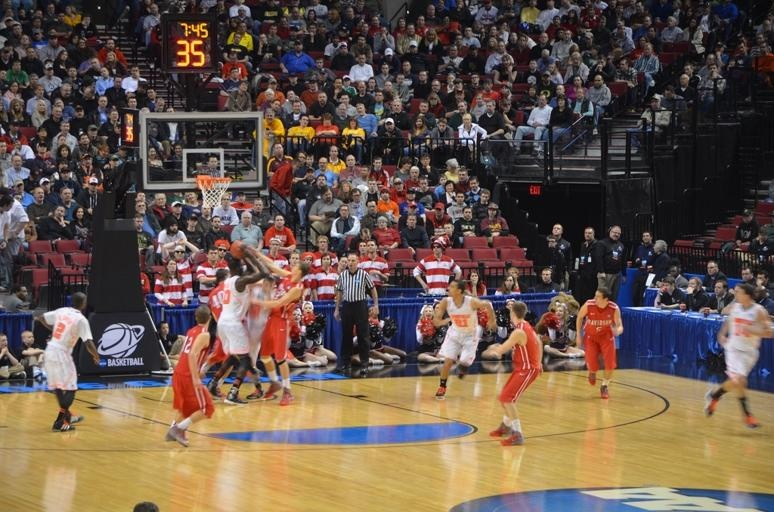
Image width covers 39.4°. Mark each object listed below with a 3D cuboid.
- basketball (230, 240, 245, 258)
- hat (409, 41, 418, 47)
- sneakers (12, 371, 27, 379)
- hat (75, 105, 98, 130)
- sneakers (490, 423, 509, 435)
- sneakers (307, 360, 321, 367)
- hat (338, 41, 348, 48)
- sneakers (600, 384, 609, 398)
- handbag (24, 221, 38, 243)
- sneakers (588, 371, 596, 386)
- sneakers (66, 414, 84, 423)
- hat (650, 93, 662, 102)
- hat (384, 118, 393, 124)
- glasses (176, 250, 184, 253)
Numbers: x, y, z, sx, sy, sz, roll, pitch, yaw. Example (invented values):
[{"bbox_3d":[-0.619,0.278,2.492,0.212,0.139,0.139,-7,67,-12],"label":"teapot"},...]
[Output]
[{"bbox_3d":[-2.789,-0.106,20.291,0.247,0.286,0.262,-1,6,-17],"label":"basketball"},{"bbox_3d":[0.832,-6.874,35.257,0.258,0.153,0.431,1,14,3],"label":"hat"},{"bbox_3d":[-7.848,2.550,23.184,0.194,0.126,0.159,-1,-4,11],"label":"sneakers"},{"bbox_3d":[-8.312,-3.755,29.822,0.501,0.737,0.245,2,-25,-33],"label":"hat"},{"bbox_3d":[2.092,3.263,20.309,0.343,0.246,0.183,3,0,7],"label":"sneakers"},{"bbox_3d":[-1.679,2.462,24.973,0.383,0.154,0.177,1,11,0],"label":"sneakers"},{"bbox_3d":[-1.414,-6.670,34.311,0.308,0.182,0.472,0,-1,-3],"label":"hat"},{"bbox_3d":[4.565,2.806,22.840,0.178,0.317,0.526,2,11,9],"label":"sneakers"},{"bbox_3d":[-8.760,-0.612,26.563,0.415,0.665,0.354,-1,1,-25],"label":"handbag"},{"bbox_3d":[4.391,2.600,23.245,0.153,0.195,0.461,3,23,5],"label":"sneakers"},{"bbox_3d":[-5.896,3.075,20.560,0.096,0.136,0.289,22,20,40],"label":"sneakers"},{"bbox_3d":[7.952,-4.694,32.246,0.312,0.188,0.476,1,8,13],"label":"hat"},{"bbox_3d":[0.090,-3.802,30.451,0.233,0.189,0.411,0,-2,5],"label":"hat"},{"bbox_3d":[-4.784,-0.086,25.220,0.050,0.059,0.180,11,15,43],"label":"glasses"}]
